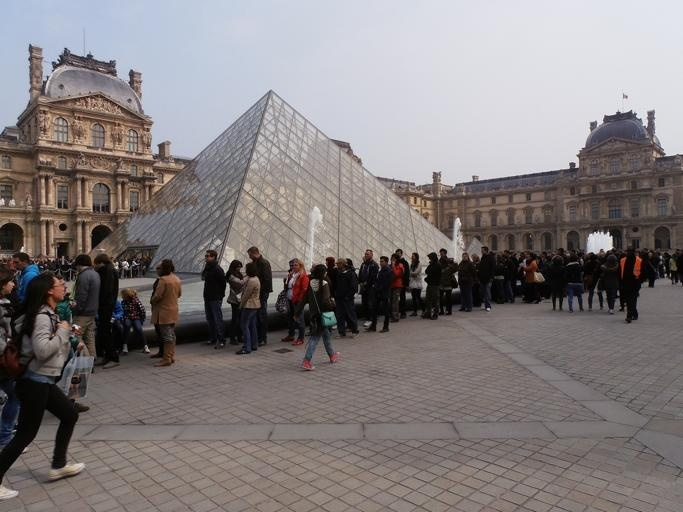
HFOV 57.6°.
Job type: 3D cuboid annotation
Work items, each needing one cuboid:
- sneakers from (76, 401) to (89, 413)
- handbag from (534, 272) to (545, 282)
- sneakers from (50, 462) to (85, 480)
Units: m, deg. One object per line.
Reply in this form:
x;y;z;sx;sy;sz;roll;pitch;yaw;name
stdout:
-2.842;1.699;6.838;0.196;0.074;0.065;5;0;3;sneakers
4.821;0.547;15.145;0.243;0.234;0.099;-5;-18;-40;handbag
-2.461;1.955;5.616;0.294;0.113;0.111;-5;5;-37;sneakers
